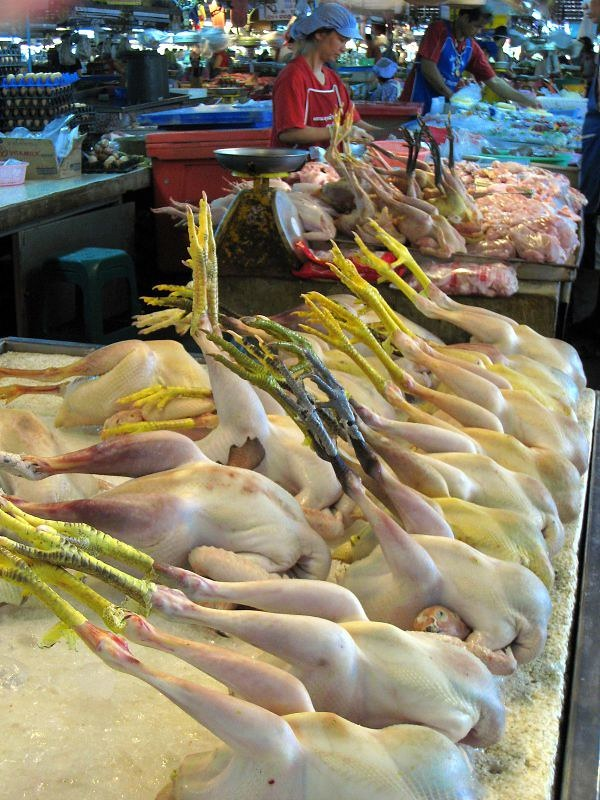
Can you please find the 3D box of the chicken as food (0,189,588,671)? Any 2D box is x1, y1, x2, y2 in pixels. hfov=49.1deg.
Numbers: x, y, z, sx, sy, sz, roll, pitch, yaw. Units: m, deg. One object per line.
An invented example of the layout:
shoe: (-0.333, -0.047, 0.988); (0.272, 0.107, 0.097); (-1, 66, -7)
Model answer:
chicken as food: (0.204, 0.232, 1.423); (1.364, 0.379, 0.957); (20, 60, -18)

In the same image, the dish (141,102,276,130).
dish: (-0.853, -2.707, 6.306); (0.802, 0.146, 0.756); (1, 21, 6)

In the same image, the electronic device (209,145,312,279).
electronic device: (-0.211, -0.903, 3.085); (0.538, 0.541, 0.512); (-13, 35, -21)

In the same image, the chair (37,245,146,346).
chair: (-1.529, -0.710, 4.814); (0.726, 0.547, 0.743); (0, 4, 39)

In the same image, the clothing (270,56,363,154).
clothing: (0.086, -2.147, 4.744); (0.755, 0.570, 0.368); (-25, 44, -35)

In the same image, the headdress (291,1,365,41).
headdress: (0.064, -2.609, 4.557); (0.668, 0.247, 0.419); (15, 34, 23)

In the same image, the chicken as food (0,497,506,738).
chicken as food: (-0.071, 0.310, 0.933); (0.645, 0.165, 0.176); (19, 25, 10)

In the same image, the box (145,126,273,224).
box: (-0.530, -2.158, 6.405); (1.617, 0.892, 0.843); (1, 25, 7)
